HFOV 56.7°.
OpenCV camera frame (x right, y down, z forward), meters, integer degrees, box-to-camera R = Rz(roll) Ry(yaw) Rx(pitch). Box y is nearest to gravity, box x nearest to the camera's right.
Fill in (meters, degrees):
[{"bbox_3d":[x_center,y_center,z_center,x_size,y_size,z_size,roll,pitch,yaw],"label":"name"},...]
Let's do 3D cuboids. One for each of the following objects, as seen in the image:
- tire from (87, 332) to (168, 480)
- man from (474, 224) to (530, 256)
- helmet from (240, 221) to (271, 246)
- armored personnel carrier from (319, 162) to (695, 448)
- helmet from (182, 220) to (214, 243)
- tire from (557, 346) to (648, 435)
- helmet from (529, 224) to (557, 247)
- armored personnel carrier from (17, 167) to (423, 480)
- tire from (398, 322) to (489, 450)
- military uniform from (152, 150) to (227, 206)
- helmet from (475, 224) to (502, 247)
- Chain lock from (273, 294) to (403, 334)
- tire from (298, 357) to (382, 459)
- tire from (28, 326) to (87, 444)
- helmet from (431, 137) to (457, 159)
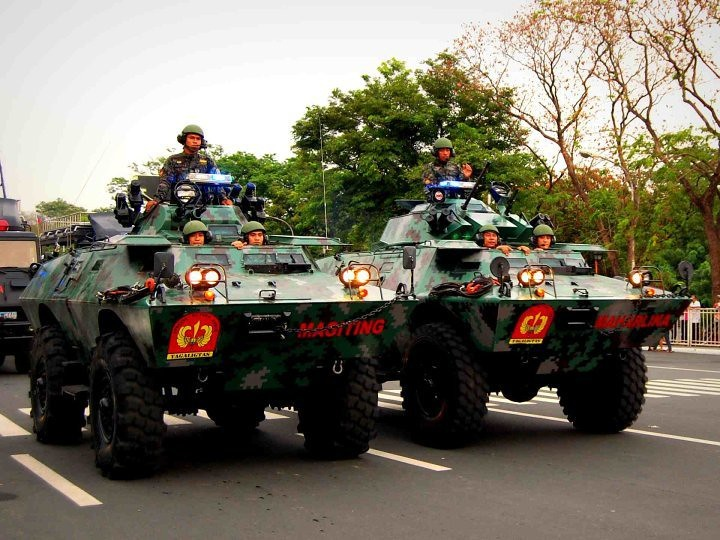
[{"bbox_3d":[-2.338,1.371,6.782,0.432,1.442,0.932,1,-1,-41],"label":"tire"},{"bbox_3d":[2.040,-0.423,9.860,0.447,0.254,0.629,-2,12,-42],"label":"man"},{"bbox_3d":[-1.378,-0.488,8.816,0.306,0.326,0.379,4,-10,-31],"label":"helmet"},{"bbox_3d":[1.694,0.512,10.237,2.943,2.926,4.716,2,-7,-26],"label":"armored personnel carrier"},{"bbox_3d":[-1.953,-0.446,8.122,0.274,0.289,0.301,-1,-2,-27],"label":"helmet"},{"bbox_3d":[3.227,1.594,8.936,0.505,1.173,1.173,10,-3,-23],"label":"tire"},{"bbox_3d":[2.827,-0.505,10.380,0.338,0.374,0.348,1,-7,-11],"label":"helmet"},{"bbox_3d":[-2.159,0.565,8.537,2.758,2.977,4.956,4,-9,-34],"label":"armored personnel carrier"},{"bbox_3d":[1.072,1.450,8.325,0.581,1.747,1.569,4,-3,-32],"label":"tire"},{"bbox_3d":[-2.516,-1.314,9.980,1.049,1.201,0.664,-1,-19,-16],"label":"military uniform"},{"bbox_3d":[1.915,-0.469,9.977,0.300,0.353,0.353,2,-20,-4],"label":"helmet"},{"bbox_3d":[-0.166,0.503,6.966,1.372,0.433,0.279,1,-1,-37],"label":"Chain lock"},{"bbox_3d":[-0.247,1.521,7.418,0.392,1.194,1.192,5,-2,-36],"label":"tire"},{"bbox_3d":[-3.880,1.476,8.607,0.488,1.472,1.475,1,-4,-36],"label":"tire"},{"bbox_3d":[1.491,-2.230,12.083,0.354,0.309,0.379,1,-6,-18],"label":"helmet"}]
